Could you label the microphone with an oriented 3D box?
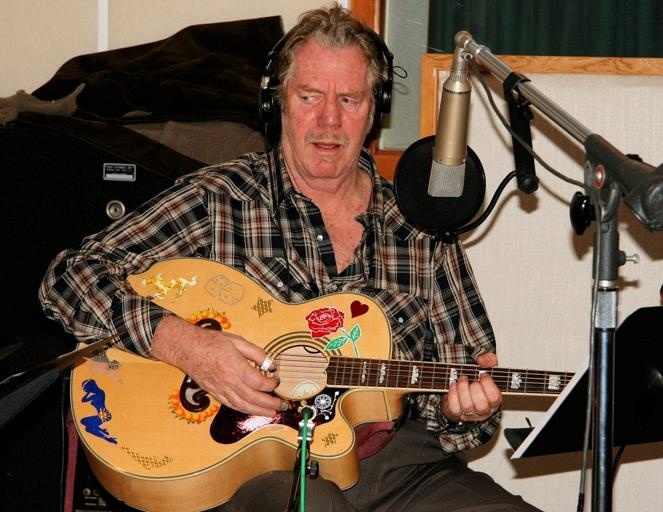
[{"bbox_3d":[0.338,-0.395,1.954,0.112,0.455,0.136,0,10,7],"label":"microphone"}]
